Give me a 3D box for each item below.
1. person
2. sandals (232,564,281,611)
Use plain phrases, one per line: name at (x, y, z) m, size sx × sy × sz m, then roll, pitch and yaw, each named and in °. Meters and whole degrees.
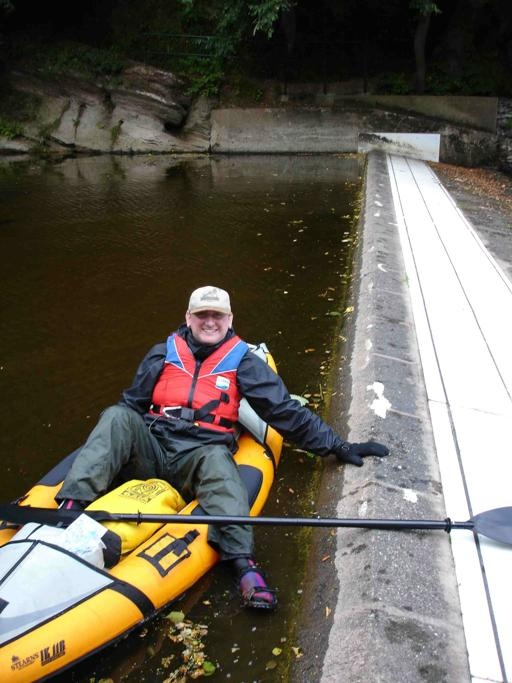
person at (-0.185, 0.425, 2.739) m, size 1.411 × 0.635 × 1.873 m, roll 11°, pitch 28°, yaw 6°
sandals at (-0.028, 0.951, 2.356) m, size 0.132 × 0.087 × 0.296 m, roll 12°, pitch 8°, yaw -23°
